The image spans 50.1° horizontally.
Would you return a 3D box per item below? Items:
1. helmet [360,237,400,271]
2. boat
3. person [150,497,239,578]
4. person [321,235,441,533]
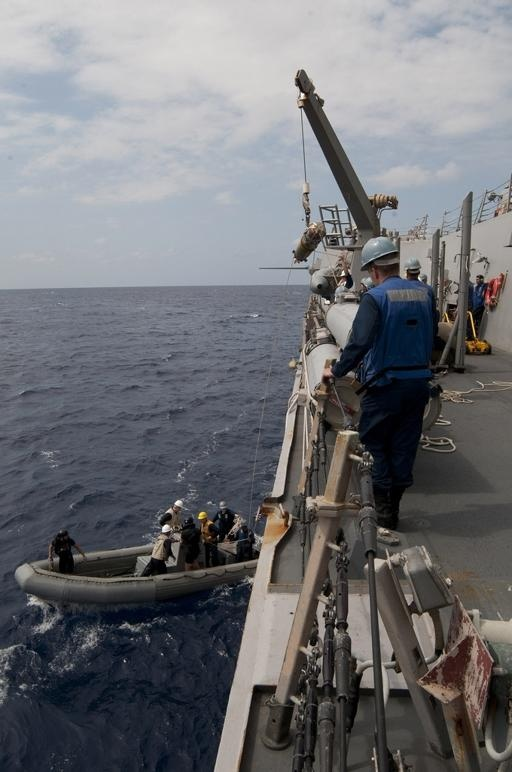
[{"bbox_3d":[0.940,-1.026,4.283,0.246,0.163,0.293,-17,0,-28],"label":"helmet"},{"bbox_3d":[-2.622,4.092,11.593,3.997,0.939,2.114,-6,-6,-14],"label":"boat"},{"bbox_3d":[-1.536,3.340,11.892,1.074,1.840,0.765,-1,43,-7],"label":"person"},{"bbox_3d":[1.006,0.168,4.214,0.919,1.983,0.374,-8,13,-28],"label":"person"}]
